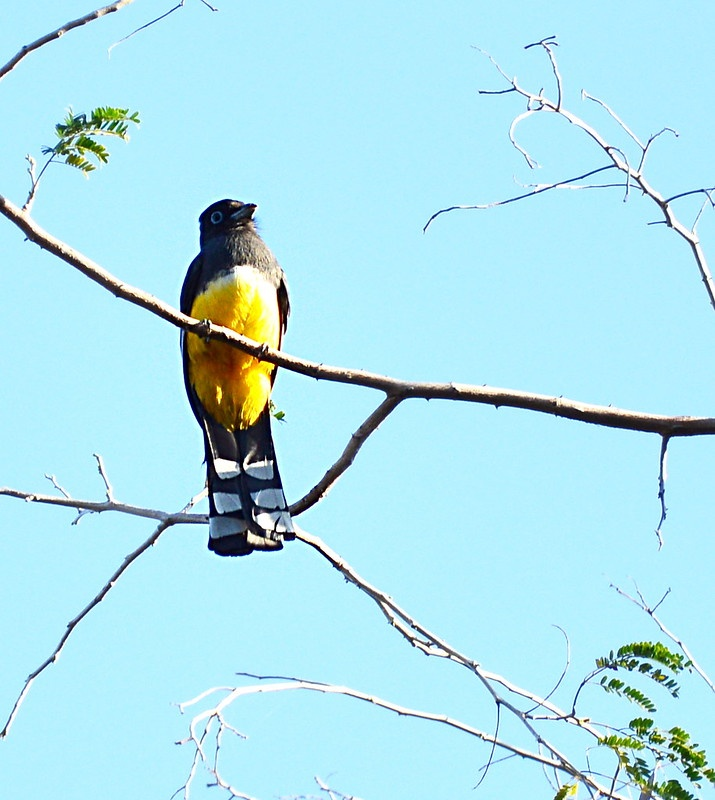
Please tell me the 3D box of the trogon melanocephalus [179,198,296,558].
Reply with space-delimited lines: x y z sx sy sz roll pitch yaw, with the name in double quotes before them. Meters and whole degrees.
"trogon melanocephalus" -0.601 -0.036 7.561 0.375 1.745 0.634 1 -13 -20
